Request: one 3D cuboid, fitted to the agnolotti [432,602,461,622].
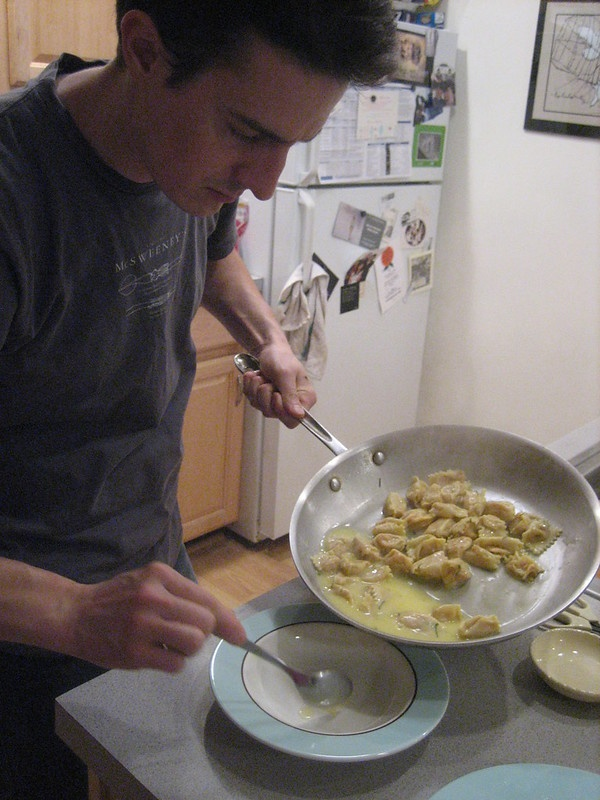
[{"bbox_3d":[0.174,0.252,0.790,0.021,0.009,0.021,-2,29,1],"label":"agnolotti"}]

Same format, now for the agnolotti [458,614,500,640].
[{"bbox_3d":[0.197,0.253,0.740,0.033,0.012,0.029,-18,9,-21],"label":"agnolotti"}]

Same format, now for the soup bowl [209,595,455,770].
[{"bbox_3d":[0.022,0.274,0.650,0.232,0.035,0.197,9,16,33],"label":"soup bowl"}]
